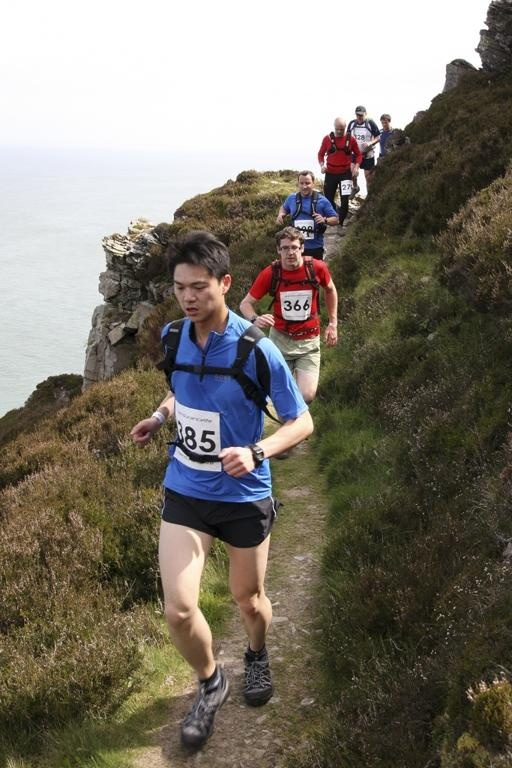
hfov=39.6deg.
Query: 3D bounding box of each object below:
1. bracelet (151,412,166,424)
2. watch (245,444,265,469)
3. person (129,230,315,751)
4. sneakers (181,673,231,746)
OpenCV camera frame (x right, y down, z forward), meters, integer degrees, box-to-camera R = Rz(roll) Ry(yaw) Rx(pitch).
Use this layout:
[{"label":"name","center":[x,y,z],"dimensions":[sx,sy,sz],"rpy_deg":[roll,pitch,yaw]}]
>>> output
[{"label":"bracelet","center":[-0.502,0.181,3.661],"dimensions":[0.059,0.059,0.038],"rpy_deg":[13,28,32]},{"label":"watch","center":[0.002,0.309,3.038],"dimensions":[0.064,0.100,0.091],"rpy_deg":[-19,4,-34]},{"label":"person","center":[-0.111,0.548,3.333],"dimensions":[0.676,2.449,0.674],"rpy_deg":[-1,13,-3]},{"label":"sneakers","center":[-0.237,1.574,3.540],"dimensions":[0.127,0.177,0.421],"rpy_deg":[3,37,23]}]
